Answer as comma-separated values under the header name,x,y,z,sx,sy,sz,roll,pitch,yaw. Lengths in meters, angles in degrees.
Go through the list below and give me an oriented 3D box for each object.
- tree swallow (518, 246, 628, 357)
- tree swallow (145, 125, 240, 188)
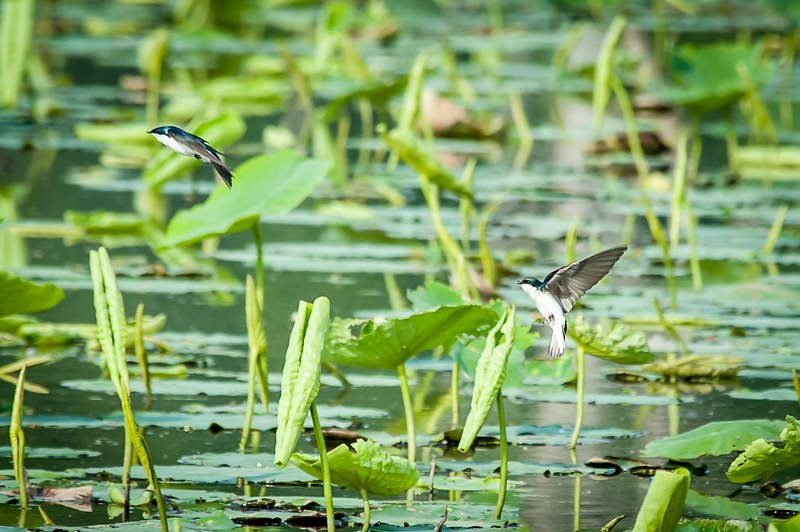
name,x,y,z,sx,sy,sz,roll,pitch,yaw
tree swallow,0.348,0.068,2.282,0.245,0.214,0.116,2,0,-7
tree swallow,-0.456,-0.254,2.495,0.203,0.170,0.129,-1,21,-4
